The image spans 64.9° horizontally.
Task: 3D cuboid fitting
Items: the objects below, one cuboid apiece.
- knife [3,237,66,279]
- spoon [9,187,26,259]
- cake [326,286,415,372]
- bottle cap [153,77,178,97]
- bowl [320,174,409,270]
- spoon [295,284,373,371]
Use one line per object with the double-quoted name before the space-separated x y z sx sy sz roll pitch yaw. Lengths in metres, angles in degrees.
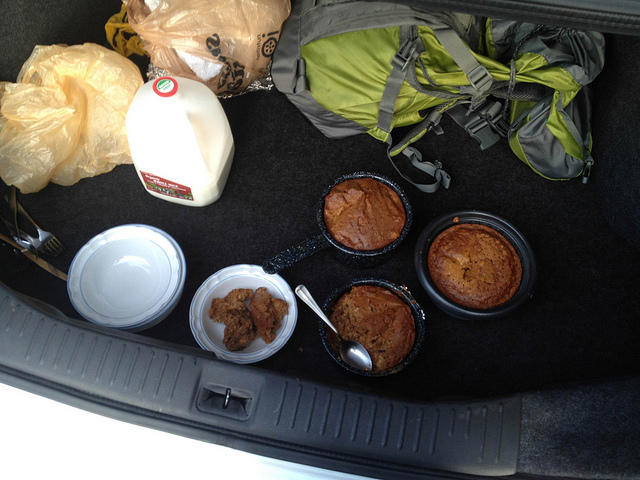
"knife" -0.658 0.042 1.146 0.134 0.015 0.016 38 78 -11
"spoon" -0.712 -0.037 1.177 0.022 0.019 0.176 -14 70 -23
"cake" 0.112 0.189 1.065 0.147 0.048 0.174 -1 77 9
"bottle cap" -0.325 -0.323 1.051 0.051 0.016 0.047 -12 59 -7
"bowl" 0.107 -0.048 1.220 0.177 0.068 0.219 7 74 4
"spoon" 0.028 0.186 1.043 0.212 0.085 0.050 37 64 21
